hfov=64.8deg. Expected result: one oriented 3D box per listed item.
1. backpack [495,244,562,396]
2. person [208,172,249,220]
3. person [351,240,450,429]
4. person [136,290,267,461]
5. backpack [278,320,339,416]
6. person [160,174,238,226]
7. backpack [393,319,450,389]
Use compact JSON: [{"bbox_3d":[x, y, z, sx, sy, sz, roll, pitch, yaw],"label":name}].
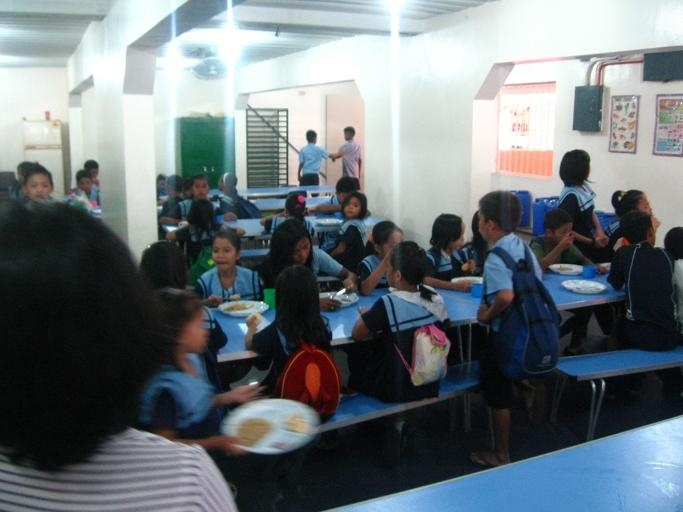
[{"bbox_3d":[0.945,0.300,2.825,0.367,0.692,0.374,3,4,29],"label":"backpack"},{"bbox_3d":[-1.425,-0.628,6.738,0.366,0.858,0.359,16,36,3],"label":"person"},{"bbox_3d":[0.293,0.306,2.837,0.513,0.768,0.644,-9,17,-39],"label":"person"},{"bbox_3d":[-0.430,0.405,1.771,0.363,0.388,0.965,-5,-29,-4],"label":"person"},{"bbox_3d":[-0.143,0.583,2.455,0.297,0.347,0.141,-2,10,-25],"label":"backpack"},{"bbox_3d":[-1.464,-0.555,5.549,0.786,0.563,0.441,-3,3,-1],"label":"person"},{"bbox_3d":[0.417,0.503,2.711,0.217,0.297,0.293,4,-2,-23],"label":"backpack"}]
